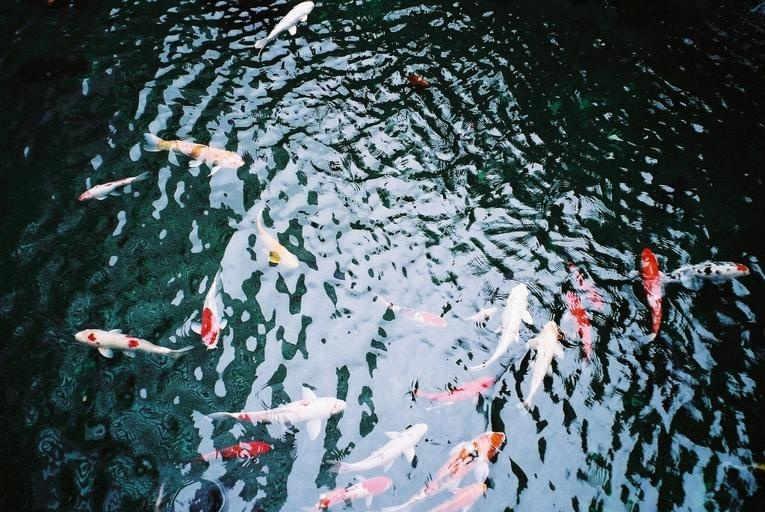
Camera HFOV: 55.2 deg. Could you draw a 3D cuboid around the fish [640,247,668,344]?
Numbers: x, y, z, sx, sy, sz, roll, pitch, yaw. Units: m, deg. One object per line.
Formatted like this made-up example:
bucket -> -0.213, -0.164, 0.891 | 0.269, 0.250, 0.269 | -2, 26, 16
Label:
fish -> 4.942, 0.648, 13.276 | 0.385, 0.475, 1.513 | 4, 75, 0
